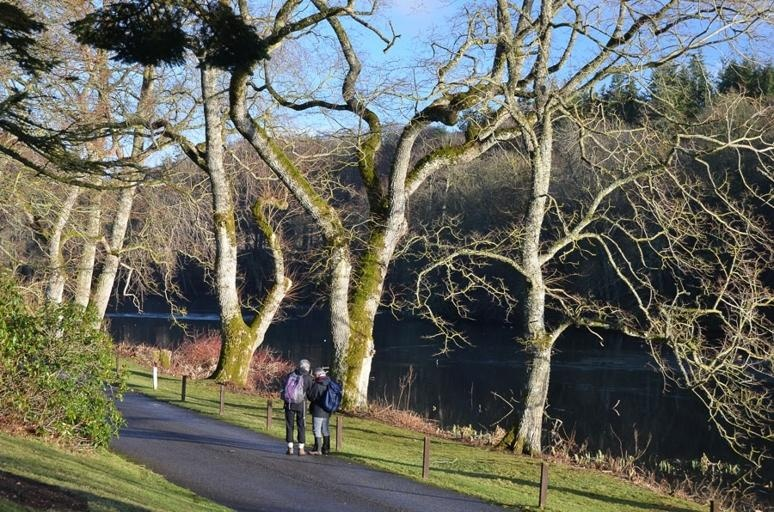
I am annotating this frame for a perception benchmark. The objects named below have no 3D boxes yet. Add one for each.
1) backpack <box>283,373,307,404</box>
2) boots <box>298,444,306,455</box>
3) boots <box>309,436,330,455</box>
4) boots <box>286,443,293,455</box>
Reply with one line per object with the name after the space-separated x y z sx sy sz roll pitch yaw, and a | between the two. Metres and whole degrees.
-2.908 4.191 38.022 0.676 0.976 0.248 7 -12 -4 | backpack
-2.718 6.102 37.939 0.171 0.389 0.363 5 -7 -23 | boots
-2.114 6.050 38.357 0.689 0.763 0.379 9 -13 -22 | boots
-3.065 6.096 38.081 0.216 0.375 0.374 7 -13 -6 | boots
